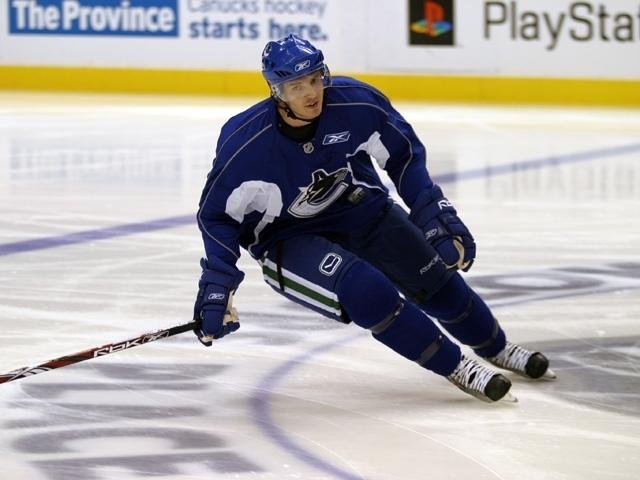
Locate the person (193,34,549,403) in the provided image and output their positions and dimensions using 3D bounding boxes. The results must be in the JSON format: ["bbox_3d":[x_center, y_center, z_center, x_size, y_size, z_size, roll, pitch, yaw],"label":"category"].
[{"bbox_3d":[0.166,-0.086,2.306,1.071,1.107,0.458,6,14,9],"label":"person"}]

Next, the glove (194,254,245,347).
[{"bbox_3d":[-0.328,0.204,2.310,0.144,0.300,0.167,3,13,-6],"label":"glove"}]

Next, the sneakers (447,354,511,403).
[{"bbox_3d":[0.512,0.436,2.237,0.114,0.058,0.275,-18,21,-29],"label":"sneakers"}]

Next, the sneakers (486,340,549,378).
[{"bbox_3d":[0.675,0.398,2.388,0.240,0.072,0.069,7,45,41],"label":"sneakers"}]

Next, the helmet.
[{"bbox_3d":[-0.083,-0.537,2.223,0.131,0.199,0.156,-4,15,-33],"label":"helmet"}]
